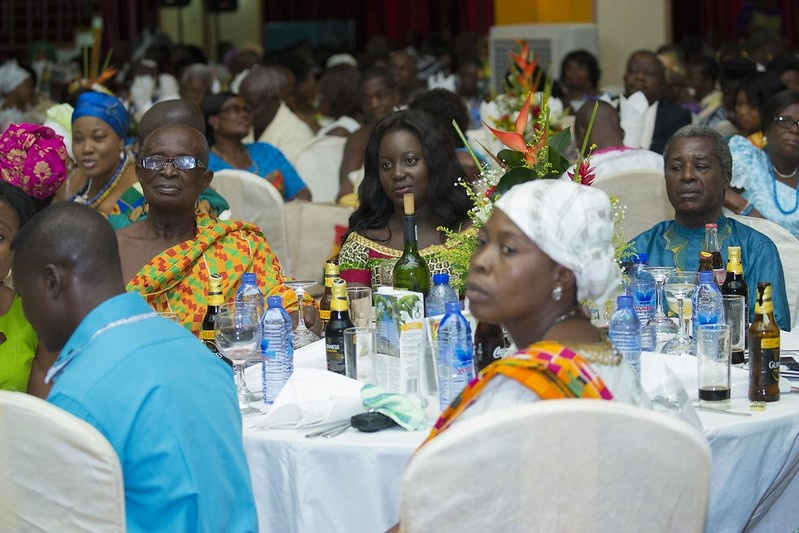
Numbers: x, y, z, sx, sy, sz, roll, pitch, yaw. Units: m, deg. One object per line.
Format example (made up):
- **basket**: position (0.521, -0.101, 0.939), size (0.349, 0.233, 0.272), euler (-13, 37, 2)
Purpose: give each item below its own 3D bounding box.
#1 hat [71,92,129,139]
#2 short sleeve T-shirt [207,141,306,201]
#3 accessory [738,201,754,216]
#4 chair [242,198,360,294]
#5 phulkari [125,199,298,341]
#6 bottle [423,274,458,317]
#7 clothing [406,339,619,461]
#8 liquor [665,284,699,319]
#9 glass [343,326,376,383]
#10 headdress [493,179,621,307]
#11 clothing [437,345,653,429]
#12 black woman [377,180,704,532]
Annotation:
- **hat**: position (-1.526, -0.805, 5.548), size (0.221, 0.209, 0.275), euler (-12, 9, 13)
- **short sleeve T-shirt**: position (-0.906, -0.669, 7.064), size (0.483, 0.199, 0.386), euler (21, 23, 27)
- **accessory**: position (1.866, -0.312, 5.729), size (0.031, 0.091, 0.092), euler (27, -12, -15)
- **chair**: position (-0.538, -0.137, 6.356), size (0.593, 0.720, 0.597), euler (8, 17, 24)
- **phulkari**: position (-0.803, 0.012, 4.393), size (0.633, 0.713, 0.287), euler (-7, 8, -13)
- **bottle**: position (0.146, 0.104, 3.819), size (0.146, 0.230, 0.142), euler (0, -7, 0)
- **clothing**: position (0.343, 0.354, 3.203), size (0.495, 0.386, 0.292), euler (-15, 4, -16)
- **liquor**: position (1.093, 0.143, 4.188), size (0.132, 0.128, 0.129), euler (0, -2, -1)
- **glass**: position (-0.140, 0.316, 3.800), size (0.130, 0.200, 0.122), euler (-3, -16, -7)
- **headdress**: position (0.520, -0.107, 3.245), size (0.381, 0.294, 0.281), euler (20, 18, -2)
- **clothing**: position (0.356, 0.329, 3.188), size (0.584, 0.190, 0.533), euler (-11, 11, -34)
- **black woman**: position (0.428, 0.304, 3.294), size (0.628, 1.088, 1.126), euler (9, -12, -43)
